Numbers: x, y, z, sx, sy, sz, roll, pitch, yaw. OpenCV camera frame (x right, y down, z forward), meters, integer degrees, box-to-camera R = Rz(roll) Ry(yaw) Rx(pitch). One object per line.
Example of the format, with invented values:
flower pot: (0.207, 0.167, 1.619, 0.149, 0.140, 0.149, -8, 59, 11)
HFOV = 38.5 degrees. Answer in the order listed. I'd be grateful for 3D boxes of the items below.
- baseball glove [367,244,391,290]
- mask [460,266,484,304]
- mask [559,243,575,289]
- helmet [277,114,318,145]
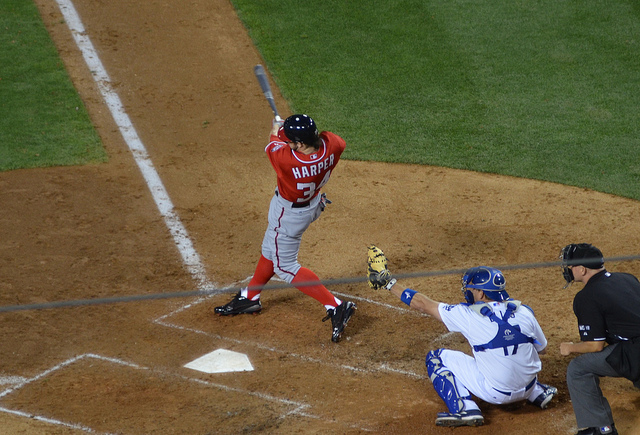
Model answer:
baseball glove: (0.850, 0.743, 13.506, 0.415, 0.578, 0.266, -8, 3, -8)
mask: (2.251, 0.956, 13.013, 0.572, 0.483, 0.420, 0, -8, 22)
mask: (3.519, 0.661, 13.063, 0.287, 0.512, 0.408, 5, 11, 5)
helmet: (-0.319, -1.257, 13.218, 0.584, 0.394, 0.325, -1, 36, 1)
